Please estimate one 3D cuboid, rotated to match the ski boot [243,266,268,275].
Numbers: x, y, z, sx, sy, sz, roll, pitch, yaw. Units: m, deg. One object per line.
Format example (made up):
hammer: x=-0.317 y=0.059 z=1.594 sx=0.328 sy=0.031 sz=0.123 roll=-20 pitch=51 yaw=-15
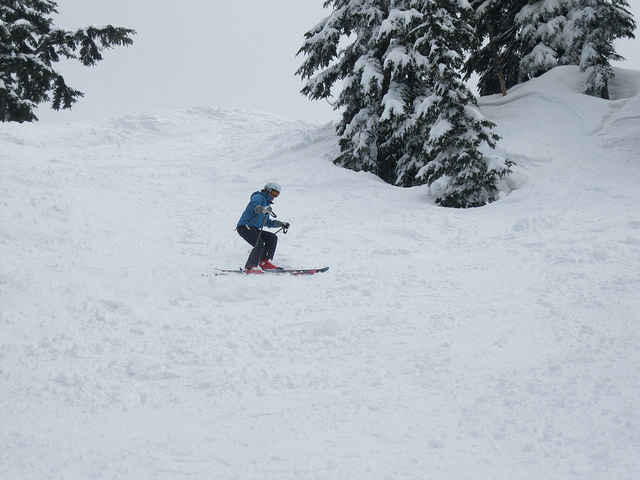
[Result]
ski boot: x=-1.513 y=0.678 z=14.287 sx=0.423 sy=0.102 sz=0.219 roll=0 pitch=3 yaw=-39
